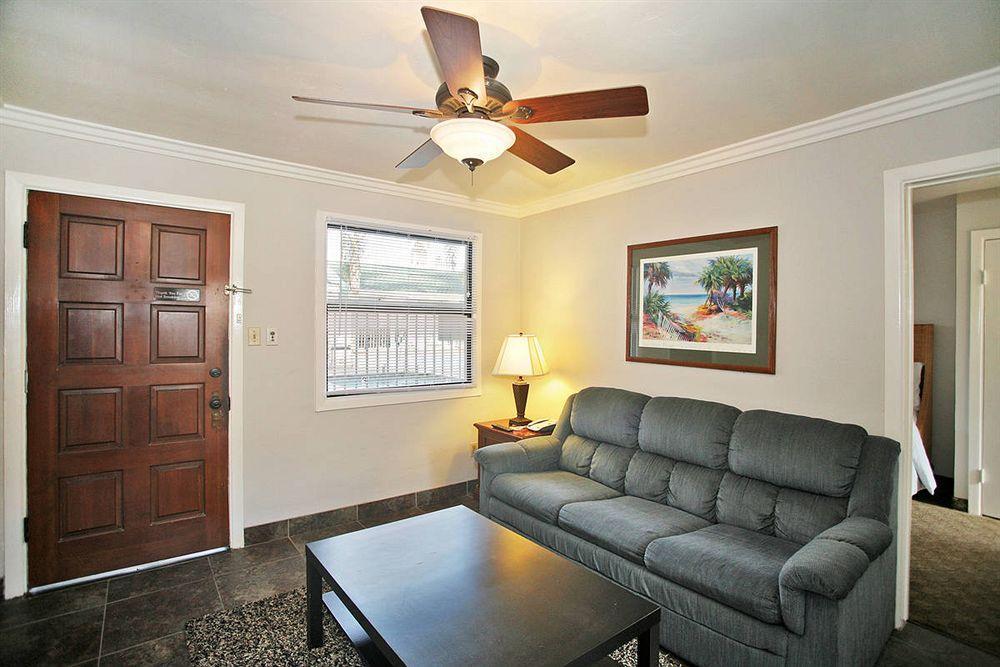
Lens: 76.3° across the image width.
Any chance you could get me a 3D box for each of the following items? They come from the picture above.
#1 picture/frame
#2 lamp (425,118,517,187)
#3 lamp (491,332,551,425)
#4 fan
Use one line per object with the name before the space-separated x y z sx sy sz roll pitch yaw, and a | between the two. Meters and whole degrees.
picture/frame | 1.567 -0.262 4.769 1.248 1.097 0.050 0 -2 44
lamp | -0.164 -0.957 3.444 0.330 0.157 0.317 1 -4 -12
lamp | 0.180 0.415 5.726 0.567 0.771 0.539 -2 2 -20
fan | 0.023 -1.209 3.309 1.212 0.463 1.173 -1 -16 6
